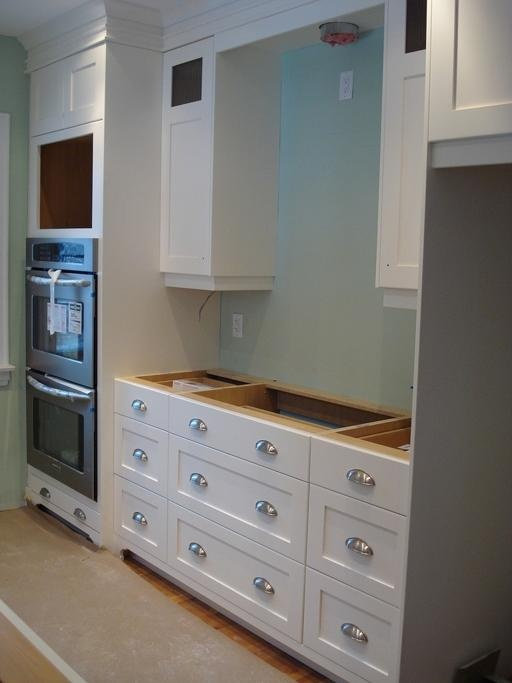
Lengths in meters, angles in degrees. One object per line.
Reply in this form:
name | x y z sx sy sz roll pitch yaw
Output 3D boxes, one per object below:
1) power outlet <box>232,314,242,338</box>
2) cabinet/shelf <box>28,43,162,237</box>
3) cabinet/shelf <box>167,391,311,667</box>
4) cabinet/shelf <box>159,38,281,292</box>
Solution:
power outlet | -0.101 -0.083 2.843 0.017 0.159 0.101 -3 5 -37
cabinet/shelf | -0.746 -0.973 2.604 0.334 1.176 0.921 0 3 -36
cabinet/shelf | -0.068 0.702 1.977 0.273 0.708 0.667 -4 10 -39
cabinet/shelf | -0.184 -0.784 2.499 0.564 1.094 0.375 1 3 0
